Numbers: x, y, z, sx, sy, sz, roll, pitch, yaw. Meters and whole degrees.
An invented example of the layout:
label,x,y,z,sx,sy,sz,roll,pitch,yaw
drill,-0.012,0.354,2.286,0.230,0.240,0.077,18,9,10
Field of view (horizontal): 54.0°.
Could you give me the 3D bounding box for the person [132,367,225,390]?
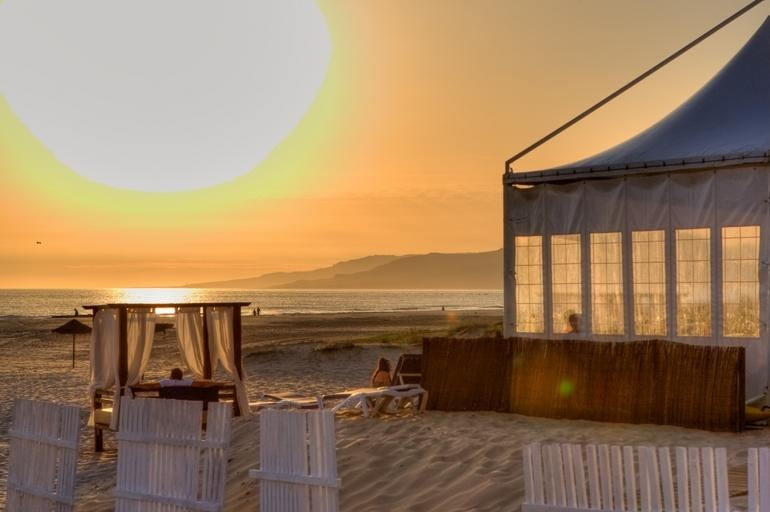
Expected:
label,x,y,z,sx,sy,sz,roll,pitch,yaw
person,-4.155,2.381,14.671,1.701,0.429,0.951,-4,-5,29
